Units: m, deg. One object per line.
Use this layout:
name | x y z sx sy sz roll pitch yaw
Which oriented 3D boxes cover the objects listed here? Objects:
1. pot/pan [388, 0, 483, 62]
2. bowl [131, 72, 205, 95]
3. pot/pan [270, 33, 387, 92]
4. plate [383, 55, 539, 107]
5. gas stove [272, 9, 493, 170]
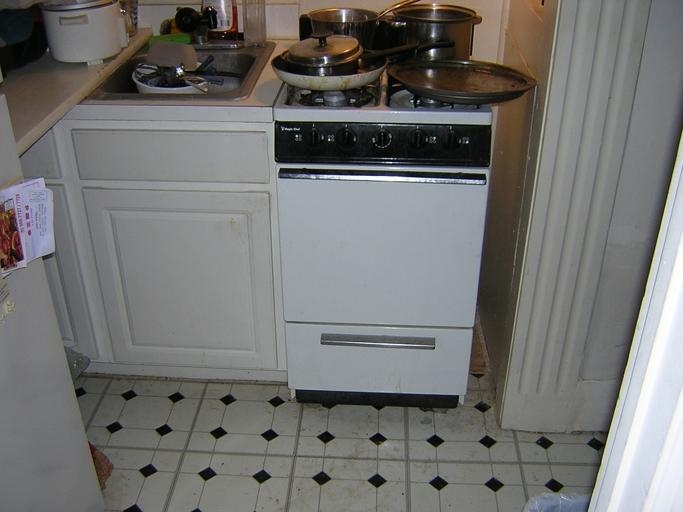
pot/pan | 0.345 -0.802 2.103 0.281 0.193 0.317 -13 37 -15
bowl | -0.612 -0.609 1.962 0.132 0.032 0.136 6 32 -4
pot/pan | -0.041 -0.608 1.832 0.246 0.100 0.253 0 36 5
plate | 0.380 -0.575 1.828 0.456 0.060 0.391 1 33 6
gas stove | 0.094 -0.672 1.903 0.690 0.282 0.686 0 52 4
